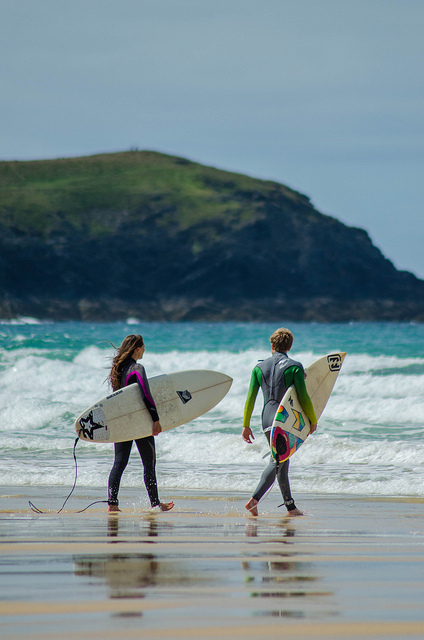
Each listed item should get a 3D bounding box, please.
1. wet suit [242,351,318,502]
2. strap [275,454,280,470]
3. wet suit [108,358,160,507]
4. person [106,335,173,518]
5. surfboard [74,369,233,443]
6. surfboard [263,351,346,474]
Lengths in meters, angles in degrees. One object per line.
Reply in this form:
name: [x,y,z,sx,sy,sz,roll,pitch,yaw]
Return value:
wet suit: [0.466,0.732,10.021,0.527,1.265,0.414,1,-6,0]
strap: [0.441,0.974,9.834,0.032,0.104,0.024,0,4,-8]
wet suit: [-0.557,0.791,10.387,0.462,1.238,0.465,-7,-7,29]
person: [-0.507,0.745,10.267,0.462,1.276,0.366,1,4,-3]
surfboard: [-0.355,0.614,10.837,0.196,0.456,1.421,-14,0,35]
surfboard: [0.779,0.838,12.044,0.216,0.317,1.280,-3,29,26]
